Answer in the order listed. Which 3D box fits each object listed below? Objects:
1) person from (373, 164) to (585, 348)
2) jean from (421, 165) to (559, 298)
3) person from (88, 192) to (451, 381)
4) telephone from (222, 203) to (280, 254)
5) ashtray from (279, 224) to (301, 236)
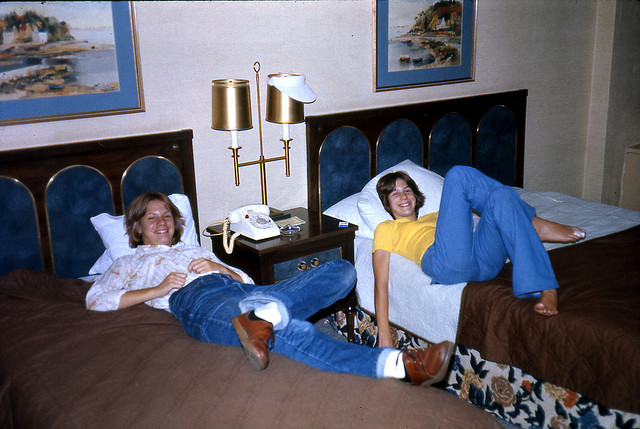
[{"bbox_3d":[0.969,0.305,3.051,1.159,0.656,0.752,-20,-2,-32],"label":"person"},{"bbox_3d":[1.100,0.068,3.078,0.601,0.700,0.900,-3,-14,23],"label":"jean"},{"bbox_3d":[-0.371,0.427,2.666,2.027,0.703,1.010,10,11,37],"label":"person"},{"bbox_3d":[-0.529,0.060,3.289,0.398,0.183,0.592,13,19,24],"label":"telephone"},{"bbox_3d":[-0.213,0.111,3.340,0.144,0.049,0.132,2,15,29],"label":"ashtray"}]
